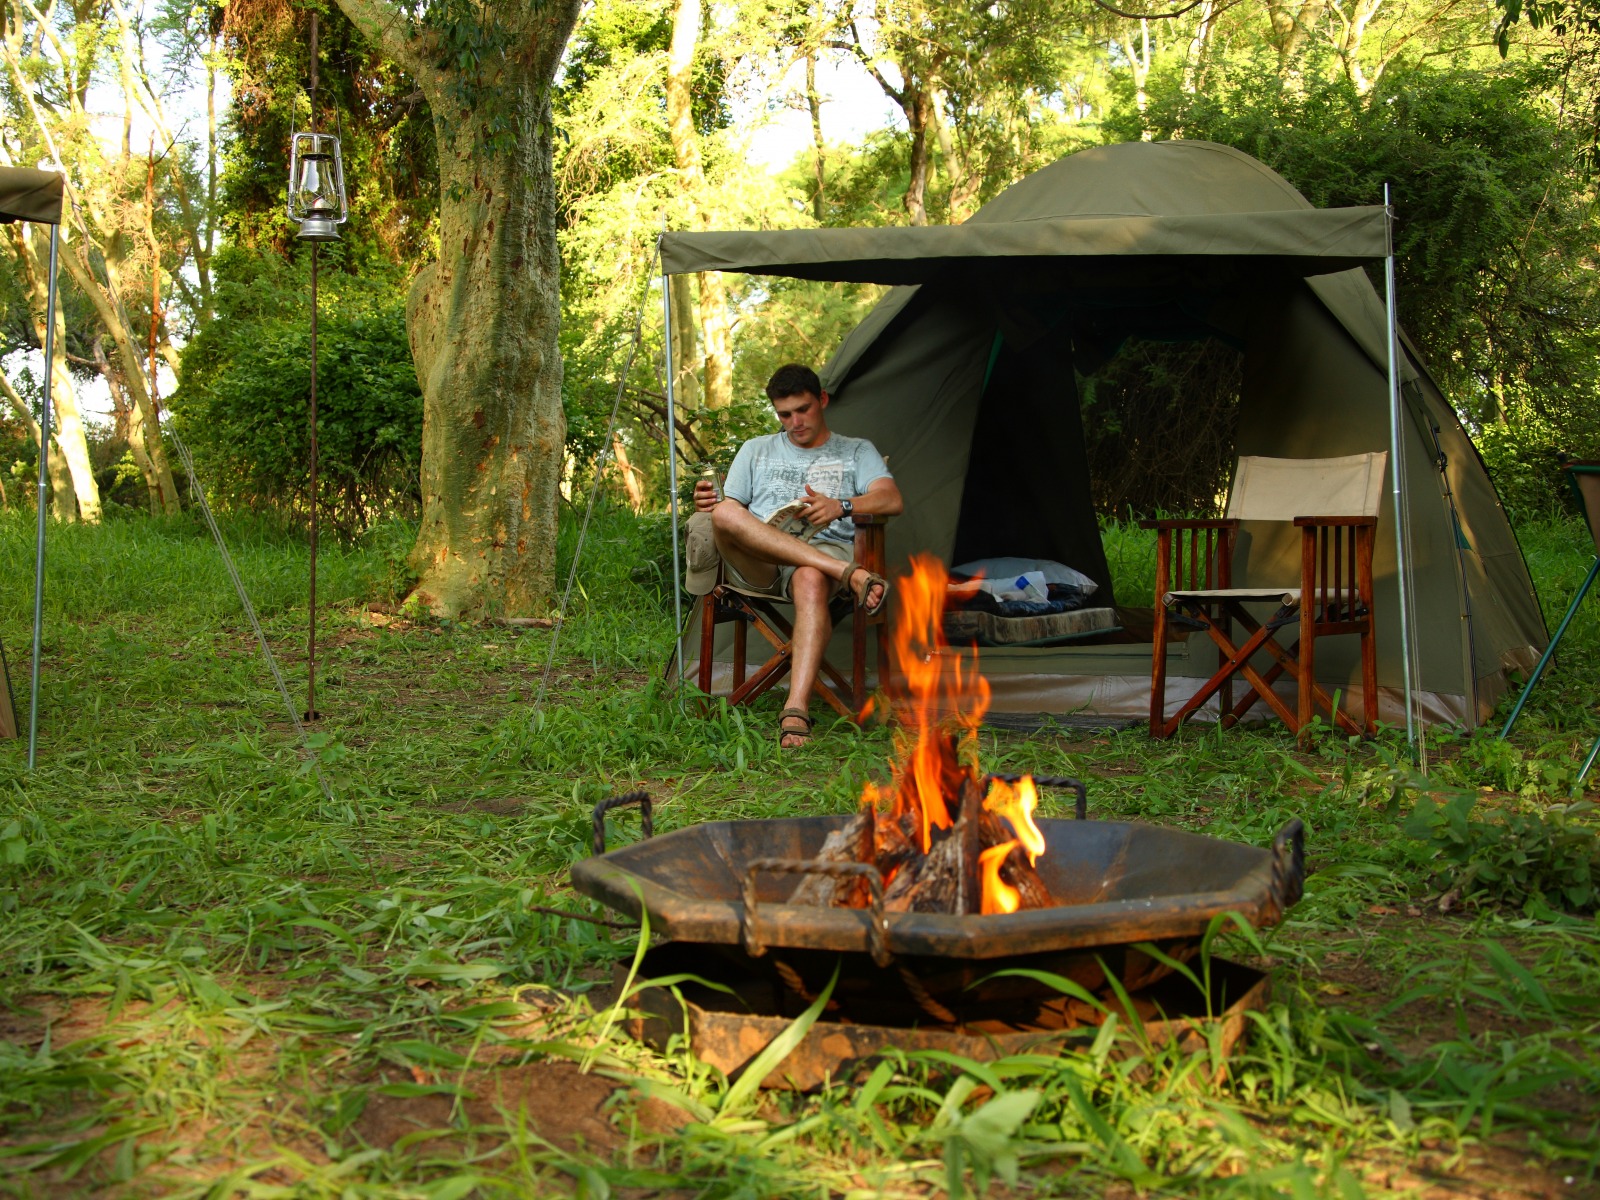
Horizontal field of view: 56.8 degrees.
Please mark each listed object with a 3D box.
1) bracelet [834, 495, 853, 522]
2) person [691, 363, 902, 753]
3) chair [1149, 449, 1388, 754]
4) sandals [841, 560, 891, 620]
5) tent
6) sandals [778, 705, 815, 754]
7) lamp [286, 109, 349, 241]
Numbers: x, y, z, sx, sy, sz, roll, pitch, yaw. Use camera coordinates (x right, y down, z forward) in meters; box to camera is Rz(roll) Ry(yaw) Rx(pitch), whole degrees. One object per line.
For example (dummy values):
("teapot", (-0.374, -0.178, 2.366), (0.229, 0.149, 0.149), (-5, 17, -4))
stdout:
("bracelet", (0.200, -0.427, 6.667), (0.057, 0.092, 0.083), (-1, -4, 2))
("person", (-0.038, -0.266, 6.590), (0.904, 1.575, 1.210), (0, 7, -4))
("chair", (2.079, -0.025, 6.573), (0.830, 1.285, 0.817), (2, 3, 45))
("sandals", (0.277, -0.053, 6.408), (0.160, 0.199, 0.444), (4, 11, 2))
("tent", (1.924, -1.296, 8.578), (2.803, 2.077, 3.440), (-10, 16, 26))
("sandals", (-0.015, 0.521, 6.133), (0.145, 0.166, 0.213), (1, 1, -1))
("lamp", (-2.197, -1.890, 6.715), (0.227, 0.566, 0.462), (1, 1, -21))
